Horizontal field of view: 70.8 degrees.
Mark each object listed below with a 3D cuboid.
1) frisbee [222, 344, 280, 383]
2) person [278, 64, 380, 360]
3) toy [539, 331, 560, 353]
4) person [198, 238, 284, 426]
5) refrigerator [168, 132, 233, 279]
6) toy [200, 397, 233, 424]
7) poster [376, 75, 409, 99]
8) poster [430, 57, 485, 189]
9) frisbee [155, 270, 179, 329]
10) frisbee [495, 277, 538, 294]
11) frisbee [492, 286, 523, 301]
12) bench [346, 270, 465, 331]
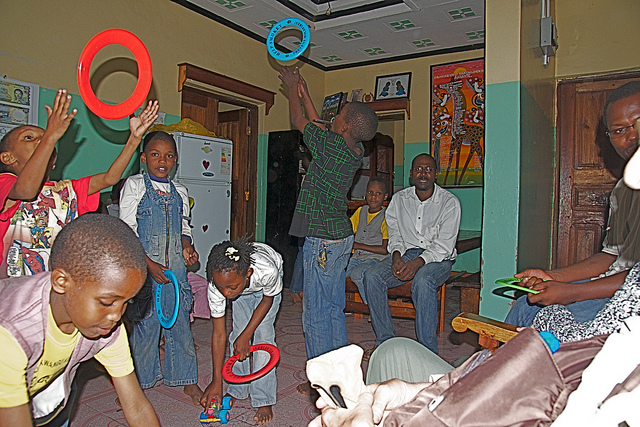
[{"bbox_3d":[-0.457,0.976,3.128,0.522,0.200,0.455,2,7,-10],"label":"frisbee"},{"bbox_3d":[0.045,0.017,3.391,0.696,2.168,0.366,3,3,4],"label":"person"},{"bbox_3d":[0.841,0.466,1.650,0.053,0.076,0.150,5,4,43],"label":"toy"},{"bbox_3d":[-0.592,0.793,3.396,0.580,1.253,0.974,2,3,-6],"label":"person"},{"bbox_3d":[-1.818,-0.080,6.437,1.001,1.969,0.817,-2,5,-42],"label":"refrigerator"},{"bbox_3d":[-0.714,1.350,3.127,0.172,0.062,0.164,-6,41,19],"label":"toy"},{"bbox_3d":[1.255,-2.135,7.672,0.567,0.361,0.028,1,-7,32],"label":"poster"},{"bbox_3d":[2.194,-1.429,7.193,0.074,1.965,1.155,-14,17,-31],"label":"poster"},{"bbox_3d":[-1.114,0.644,3.283,0.158,0.448,0.165,-4,14,-6],"label":"frisbee"},{"bbox_3d":[1.143,0.410,2.598,0.203,0.086,0.405,3,2,26],"label":"frisbee"},{"bbox_3d":[1.407,0.596,3.477,0.275,0.075,0.263,4,-1,22],"label":"frisbee"},{"bbox_3d":[0.808,0.851,4.798,1.124,0.458,0.631,-5,-3,33],"label":"bench"}]
